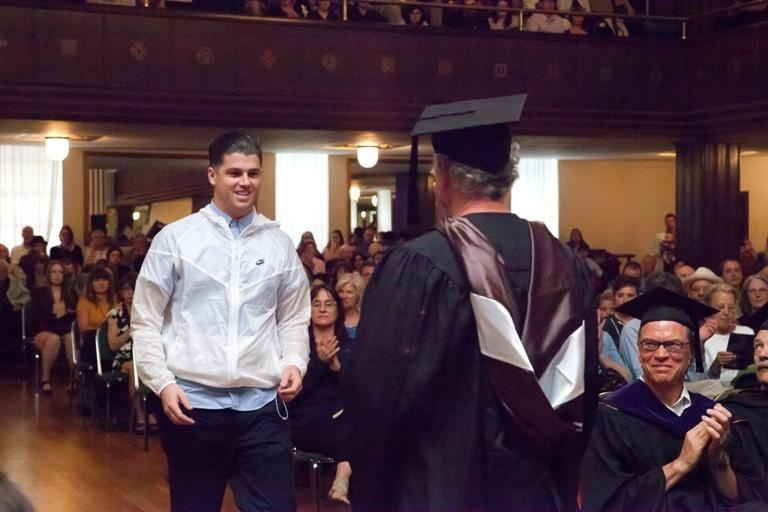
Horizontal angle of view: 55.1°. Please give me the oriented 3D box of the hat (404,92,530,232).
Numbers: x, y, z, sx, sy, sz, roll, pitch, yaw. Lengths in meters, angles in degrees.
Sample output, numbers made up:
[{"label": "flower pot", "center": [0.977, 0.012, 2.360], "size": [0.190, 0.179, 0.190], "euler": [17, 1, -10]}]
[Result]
[{"label": "hat", "center": [0.334, -0.341, 3.176], "size": [0.462, 0.525, 0.373], "euler": [0, 21, 1]}]

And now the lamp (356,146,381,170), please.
[{"label": "lamp", "center": [-0.196, -1.605, 11.896], "size": [0.441, 0.364, 0.419], "euler": [-2, 5, -21]}]
